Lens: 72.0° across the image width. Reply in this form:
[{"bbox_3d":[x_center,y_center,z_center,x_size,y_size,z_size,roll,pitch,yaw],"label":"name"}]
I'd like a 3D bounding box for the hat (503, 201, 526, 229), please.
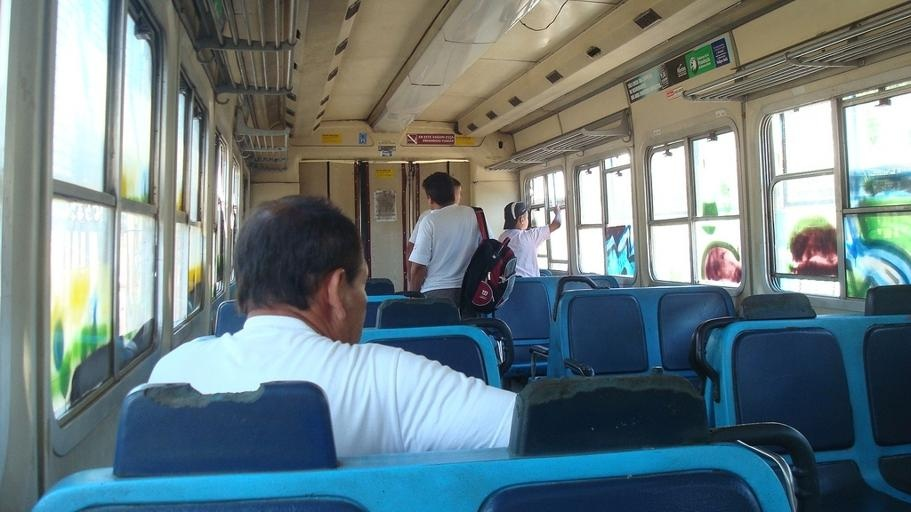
[{"bbox_3d":[0.785,-0.539,8.251,0.263,0.200,0.371,-16,8,21],"label":"hat"}]
